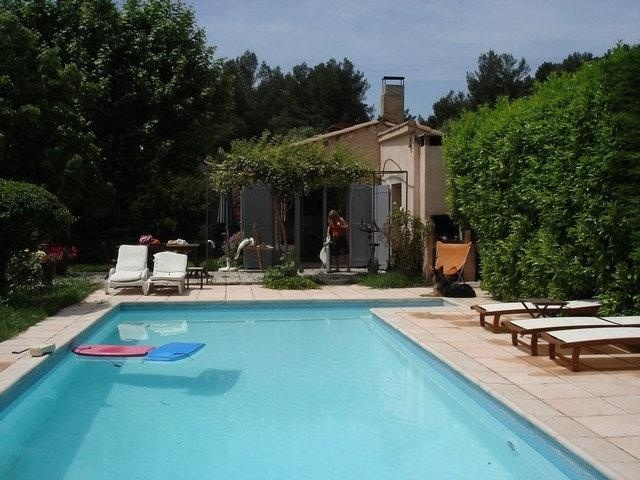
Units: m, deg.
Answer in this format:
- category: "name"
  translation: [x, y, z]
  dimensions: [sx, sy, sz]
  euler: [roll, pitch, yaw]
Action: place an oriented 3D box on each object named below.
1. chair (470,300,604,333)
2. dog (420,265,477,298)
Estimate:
- category: "chair"
  translation: [3.255, 1.041, 7.225]
  dimensions: [1.567, 0.471, 0.803]
  euler: [0, -1, 4]
- category: "dog"
  translation: [2.942, 0.930, 10.634]
  dimensions: [0.859, 0.621, 0.487]
  euler: [2, 6, 16]
